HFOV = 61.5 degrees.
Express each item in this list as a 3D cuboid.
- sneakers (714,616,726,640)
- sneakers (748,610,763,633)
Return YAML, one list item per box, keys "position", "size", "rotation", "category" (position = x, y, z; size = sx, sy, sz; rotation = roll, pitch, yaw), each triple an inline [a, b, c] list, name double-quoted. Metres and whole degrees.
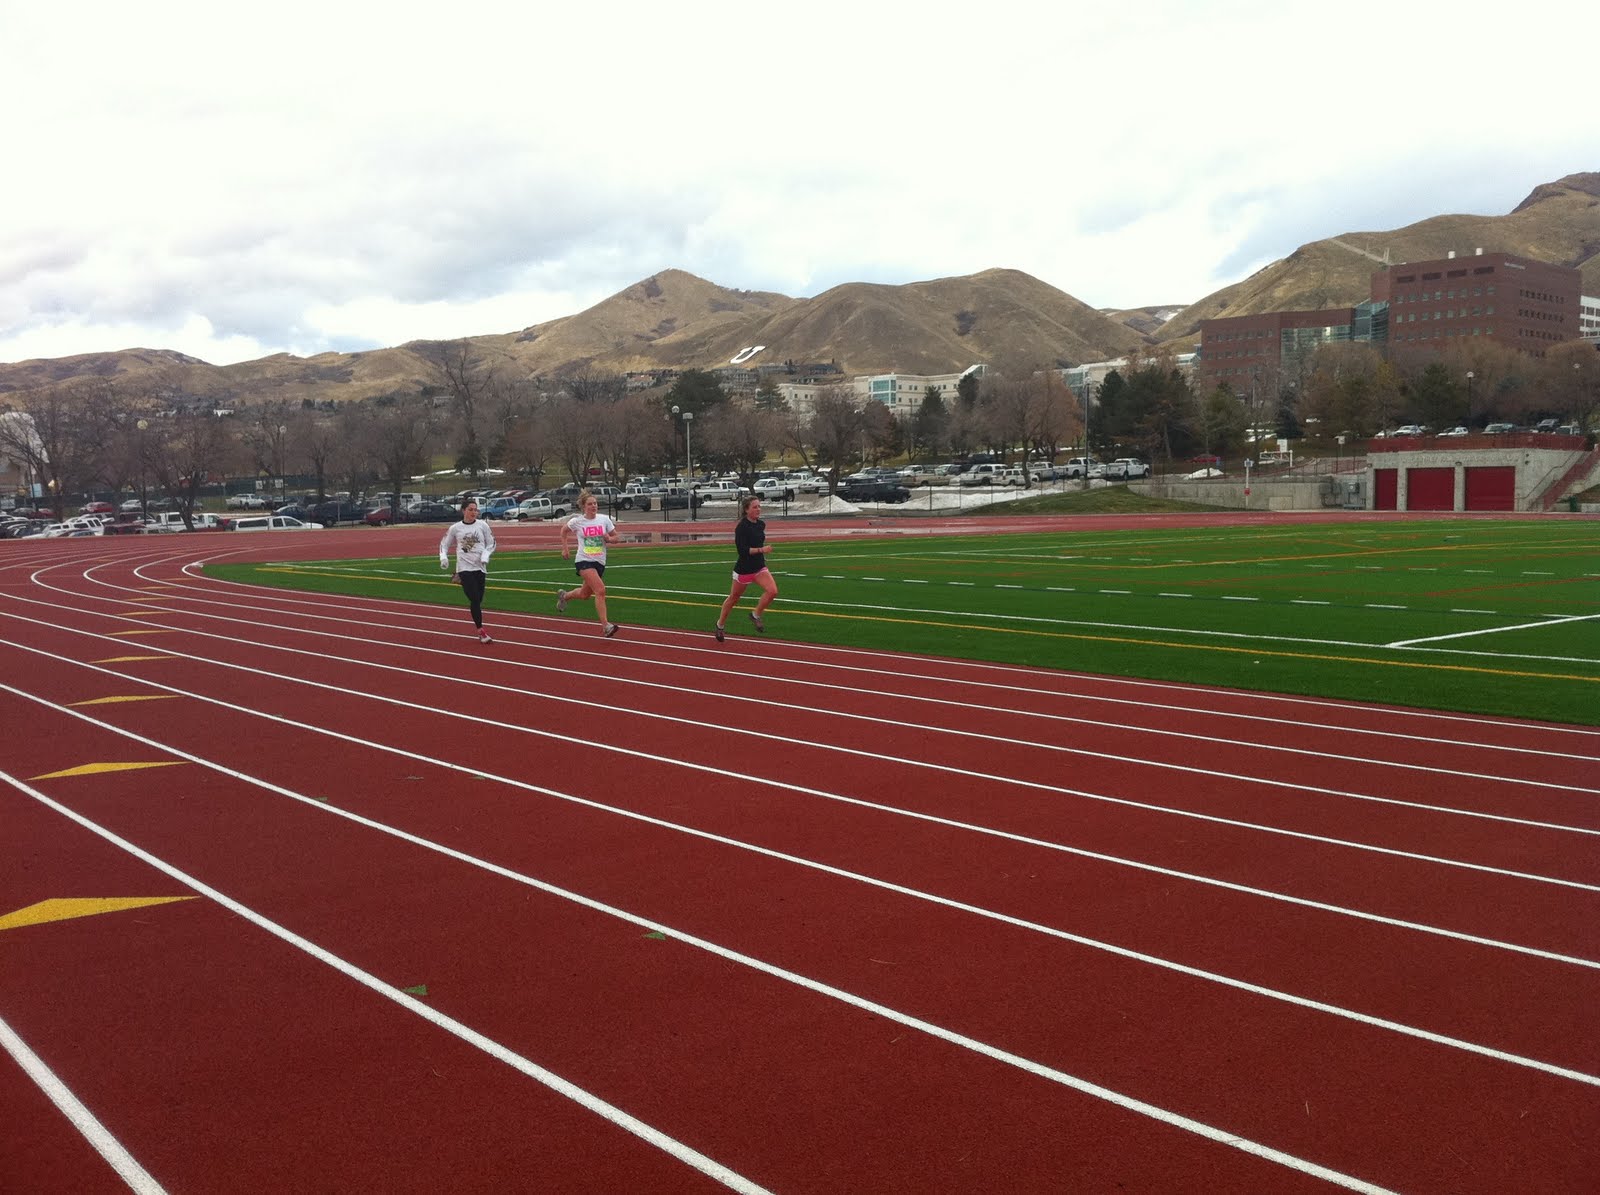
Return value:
- position: [-1.019, 0.393, 16.998]
  size: [0.076, 0.291, 0.100]
  rotation: [-2, -6, 31]
  category: "sneakers"
- position: [-0.564, 0.277, 17.285]
  size: [0.102, 0.288, 0.115]
  rotation: [7, -36, -43]
  category: "sneakers"
